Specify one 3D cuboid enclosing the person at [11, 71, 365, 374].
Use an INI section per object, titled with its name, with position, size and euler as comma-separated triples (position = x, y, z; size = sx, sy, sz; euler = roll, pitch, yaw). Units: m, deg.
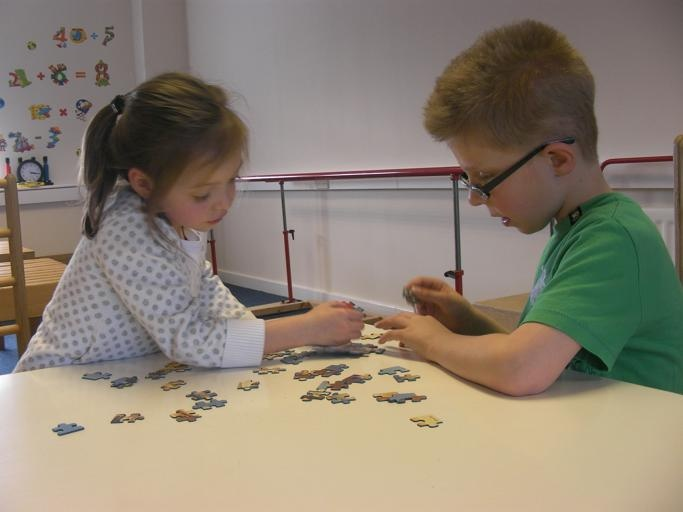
[person]
position = -0.410, -0.053, 1.443
size = 0.817, 0.724, 0.464
euler = 6, 12, 20
